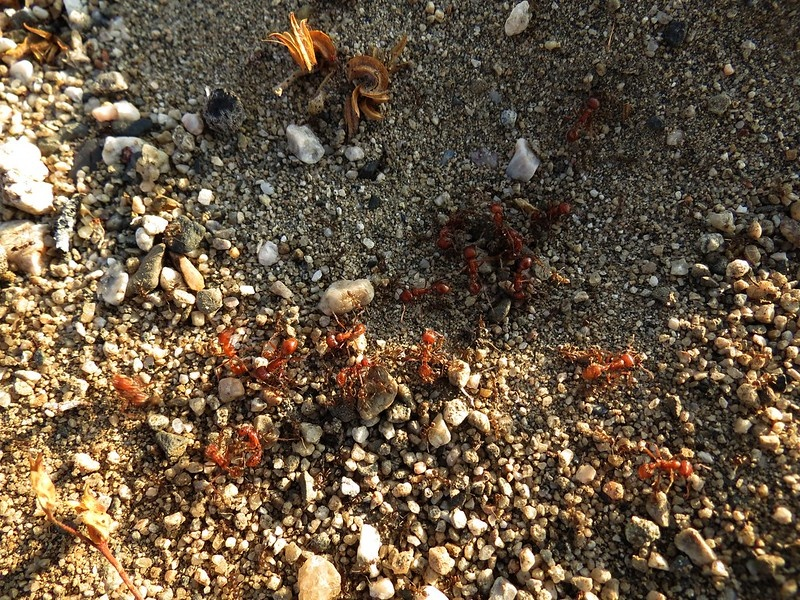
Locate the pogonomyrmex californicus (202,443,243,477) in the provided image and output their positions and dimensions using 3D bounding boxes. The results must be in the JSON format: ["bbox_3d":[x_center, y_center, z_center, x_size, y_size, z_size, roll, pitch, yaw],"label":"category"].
[{"bbox_3d":[-1.348,1.206,6.061,0.320,0.087,0.188,46,47,-2],"label":"pogonomyrmex californicus"}]

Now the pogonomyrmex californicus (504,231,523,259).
[{"bbox_3d":[0.919,-0.457,6.381,0.135,0.086,0.236,-16,98,31],"label":"pogonomyrmex californicus"}]

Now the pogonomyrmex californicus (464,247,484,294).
[{"bbox_3d":[0.581,-0.244,6.324,0.107,0.117,0.423,0,106,31],"label":"pogonomyrmex californicus"}]

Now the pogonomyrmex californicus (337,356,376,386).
[{"bbox_3d":[-0.352,0.551,6.213,0.277,0.090,0.183,-29,93,2],"label":"pogonomyrmex californicus"}]

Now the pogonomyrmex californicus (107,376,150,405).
[{"bbox_3d":[-2.052,0.688,6.057,0.267,0.094,0.196,41,69,-8],"label":"pogonomyrmex californicus"}]

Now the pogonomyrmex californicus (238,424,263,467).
[{"bbox_3d":[-1.142,1.104,6.085,0.091,0.196,0.300,-11,94,-42],"label":"pogonomyrmex californicus"}]

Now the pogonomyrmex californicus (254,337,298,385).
[{"bbox_3d":[-0.945,0.489,6.158,0.418,0.113,0.209,-44,86,-5],"label":"pogonomyrmex californicus"}]

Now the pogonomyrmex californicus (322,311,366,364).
[{"bbox_3d":[-0.425,0.291,6.167,0.301,0.108,0.344,26,82,-3],"label":"pogonomyrmex californicus"}]

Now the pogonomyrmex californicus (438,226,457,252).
[{"bbox_3d":[0.373,-0.496,6.378,0.147,0.123,0.206,2,83,-1],"label":"pogonomyrmex californicus"}]

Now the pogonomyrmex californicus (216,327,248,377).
[{"bbox_3d":[-1.293,0.415,6.219,0.181,0.128,0.393,-13,90,26],"label":"pogonomyrmex californicus"}]

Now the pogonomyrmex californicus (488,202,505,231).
[{"bbox_3d":[0.776,-0.661,6.393,0.100,0.085,0.229,-10,100,-6],"label":"pogonomyrmex californicus"}]
